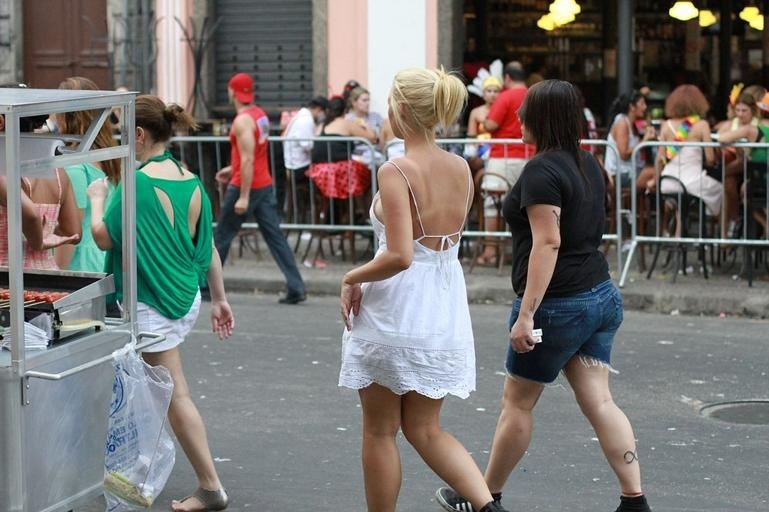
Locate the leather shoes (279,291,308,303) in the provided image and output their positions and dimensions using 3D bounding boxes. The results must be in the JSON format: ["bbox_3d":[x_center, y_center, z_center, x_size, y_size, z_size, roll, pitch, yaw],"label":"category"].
[{"bbox_3d":[-1.009,0.456,16.511,0.324,0.154,0.124,3,9,27],"label":"leather shoes"}]
